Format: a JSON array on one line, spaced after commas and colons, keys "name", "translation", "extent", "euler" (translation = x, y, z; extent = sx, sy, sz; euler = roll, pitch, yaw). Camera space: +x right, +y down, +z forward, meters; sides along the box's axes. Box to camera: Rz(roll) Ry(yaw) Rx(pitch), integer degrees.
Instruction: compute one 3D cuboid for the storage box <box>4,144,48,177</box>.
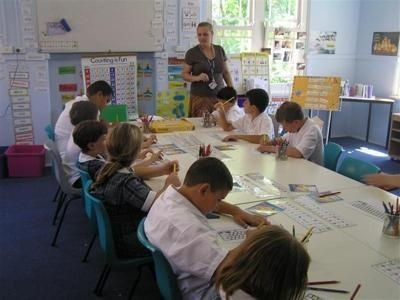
[{"name": "storage box", "translation": [-2.655, 0.186, 4.566], "extent": [0.513, 0.345, 0.523], "euler": [0, 13, -11]}]
